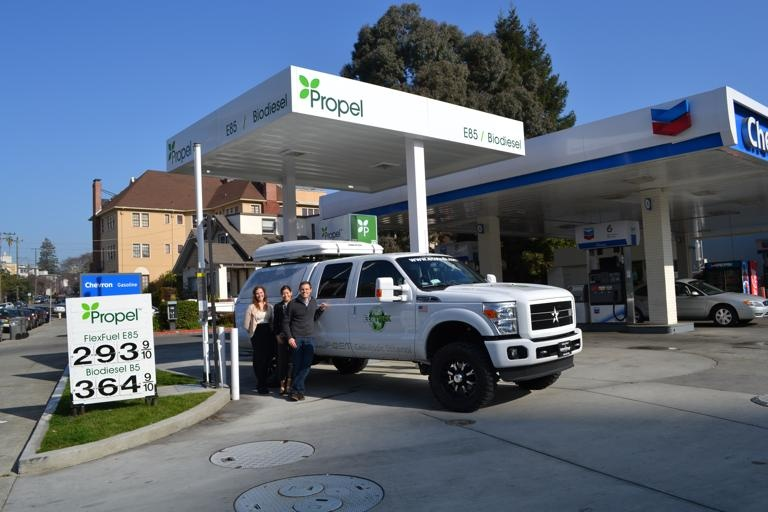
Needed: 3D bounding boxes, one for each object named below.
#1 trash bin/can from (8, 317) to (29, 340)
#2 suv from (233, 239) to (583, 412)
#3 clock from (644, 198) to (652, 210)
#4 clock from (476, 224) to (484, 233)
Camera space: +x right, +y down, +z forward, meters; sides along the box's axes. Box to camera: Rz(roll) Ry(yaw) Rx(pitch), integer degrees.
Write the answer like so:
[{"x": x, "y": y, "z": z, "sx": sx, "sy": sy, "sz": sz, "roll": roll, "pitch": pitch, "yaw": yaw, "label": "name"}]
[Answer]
[{"x": -20.507, "y": 4.081, "z": 32.945, "sx": 0.780, "sy": 0.961, "sz": 2.063, "roll": -1, "pitch": -7, "yaw": -15, "label": "trash bin/can"}, {"x": 0.392, "y": 1.048, "z": 12.955, "sx": 7.018, "sy": 3.079, "sz": 3.642, "roll": -8, "pitch": -7, "yaw": 42, "label": "suv"}, {"x": 9.774, "y": -1.943, "z": 21.412, "sx": 0.297, "sy": 0.477, "sz": 0.128, "roll": -3, "pitch": 0, "yaw": -5, "label": "clock"}, {"x": 4.430, "y": -1.336, "z": 26.689, "sx": 0.283, "sy": 0.523, "sz": 0.596, "roll": 2, "pitch": -3, "yaw": -21, "label": "clock"}]
